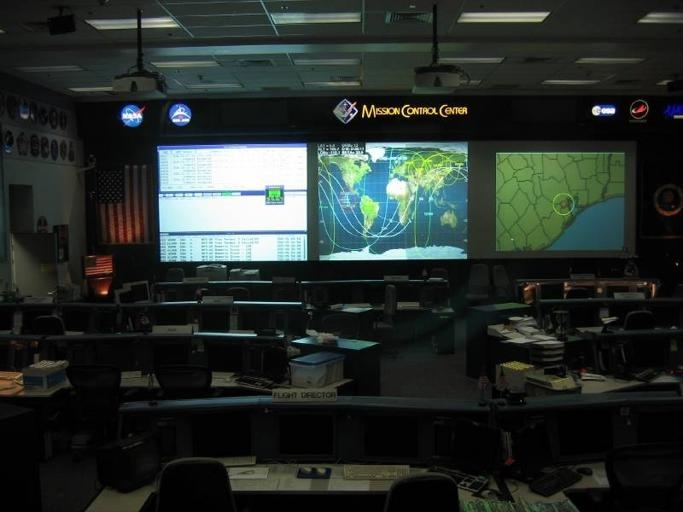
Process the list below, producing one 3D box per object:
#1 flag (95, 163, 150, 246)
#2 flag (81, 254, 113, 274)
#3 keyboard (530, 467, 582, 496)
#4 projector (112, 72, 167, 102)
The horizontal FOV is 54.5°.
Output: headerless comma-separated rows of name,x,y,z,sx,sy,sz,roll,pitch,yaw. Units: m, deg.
flag,-4.374,-1.019,13.430,1.188,1.585,0.110,-1,3,5
flag,-4.654,0.196,12.687,0.288,0.369,0.663,-1,2,8
keyboard,1.932,2.028,5.974,0.526,0.144,0.221,-3,3,-32
projector,-2.702,-2.290,8.867,0.548,0.314,0.517,-1,2,2
